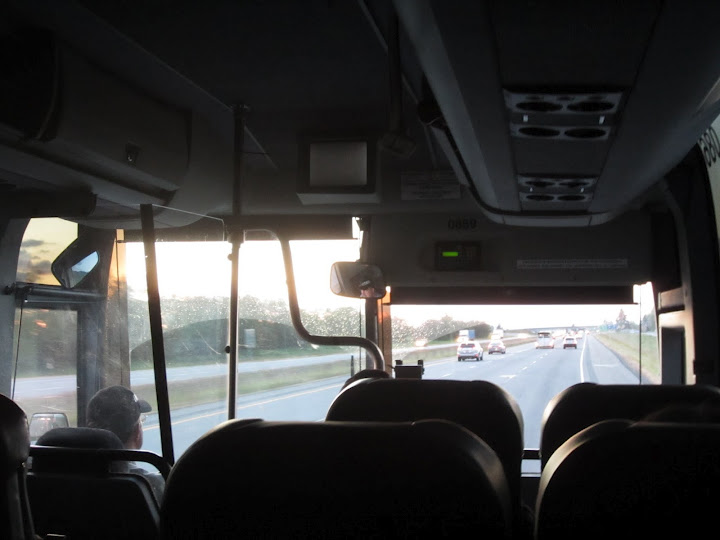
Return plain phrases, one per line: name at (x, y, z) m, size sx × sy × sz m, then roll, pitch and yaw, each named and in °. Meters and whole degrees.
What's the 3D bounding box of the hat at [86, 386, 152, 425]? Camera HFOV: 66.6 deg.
hat at (-0.806, 0.437, 1.824) m, size 0.100 × 0.082 × 0.152 m, roll -1°, pitch 4°, yaw 19°
